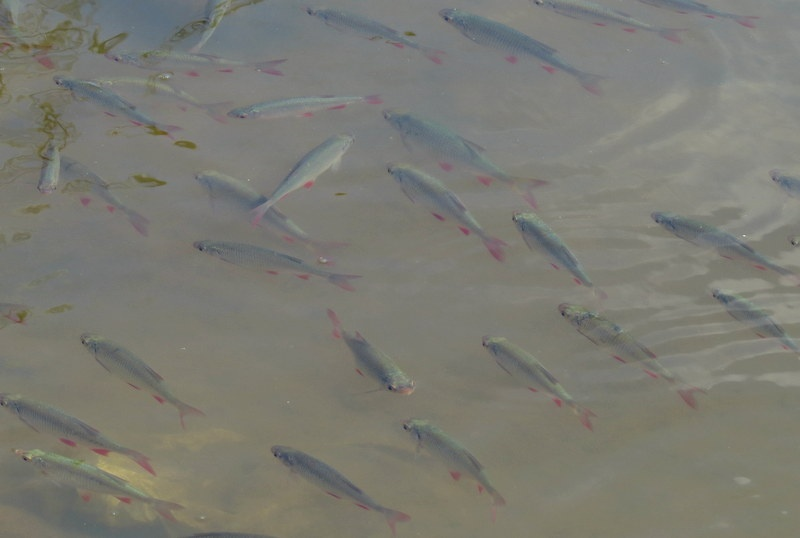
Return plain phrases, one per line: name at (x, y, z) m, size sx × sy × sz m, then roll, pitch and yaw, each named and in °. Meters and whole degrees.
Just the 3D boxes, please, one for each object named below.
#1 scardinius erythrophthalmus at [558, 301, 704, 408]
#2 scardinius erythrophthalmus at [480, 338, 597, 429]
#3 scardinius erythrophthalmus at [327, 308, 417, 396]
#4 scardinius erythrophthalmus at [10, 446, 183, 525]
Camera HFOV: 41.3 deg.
scardinius erythrophthalmus at (2.146, 0.852, 10.009) m, size 1.348 × 0.354 × 0.218 m, roll 32°, pitch 73°, yaw -4°
scardinius erythrophthalmus at (1.273, 1.105, 9.901) m, size 1.022 × 0.348 × 0.178 m, roll 38°, pitch 66°, yaw 15°
scardinius erythrophthalmus at (-0.276, 0.814, 9.963) m, size 0.905 × 0.338 × 0.186 m, roll 41°, pitch 61°, yaw 18°
scardinius erythrophthalmus at (-2.779, 1.968, 9.528) m, size 1.206 × 0.327 × 0.237 m, roll 21°, pitch 42°, yaw 1°
